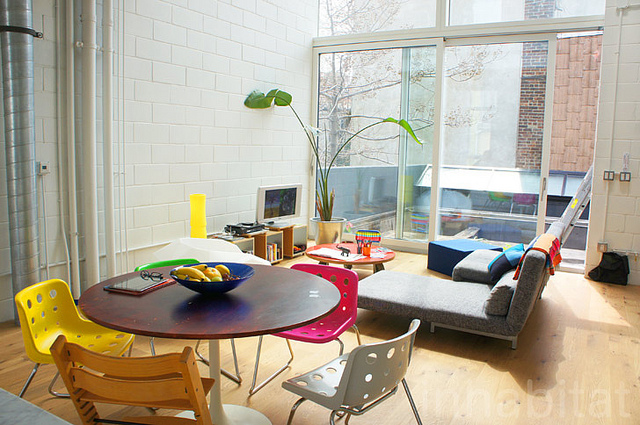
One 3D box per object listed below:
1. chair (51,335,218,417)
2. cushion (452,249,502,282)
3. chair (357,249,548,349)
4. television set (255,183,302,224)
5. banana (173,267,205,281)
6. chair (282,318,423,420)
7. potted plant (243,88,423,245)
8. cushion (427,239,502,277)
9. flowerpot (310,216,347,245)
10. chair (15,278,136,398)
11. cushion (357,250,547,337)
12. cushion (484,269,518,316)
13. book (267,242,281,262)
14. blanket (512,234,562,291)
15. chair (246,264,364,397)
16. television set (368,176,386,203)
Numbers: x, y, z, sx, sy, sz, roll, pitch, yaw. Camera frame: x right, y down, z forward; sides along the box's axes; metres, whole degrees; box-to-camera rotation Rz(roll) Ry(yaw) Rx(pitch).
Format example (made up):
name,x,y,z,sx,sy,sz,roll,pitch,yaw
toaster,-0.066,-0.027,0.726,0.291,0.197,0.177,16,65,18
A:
name,x,y,z,sx,sy,sz,roll,pitch,yaw
chair,-0.878,0.756,2.125,0.579,0.521,0.453,2,23,3
cushion,1.816,0.599,4.787,0.399,0.127,0.397,-4,16,39
chair,1.217,0.805,4.076,1.644,0.667,0.990,7,12,26
television set,-0.628,-0.087,6.055,0.259,0.634,0.953,13,14,31
banana,-0.799,0.374,2.533,0.158,0.041,0.035,19,16,26
chair,0.185,1.055,2.759,0.551,0.693,0.705,16,18,37
potted plant,0.092,-0.501,6.343,2.242,2.093,2.577,-12,-19,18
cushion,1.871,0.519,5.732,0.608,0.317,0.589,-7,12,-40
flowerpot,0.126,0.266,6.183,0.438,0.300,0.435,3,3,42
chair,-1.657,0.863,2.752,0.673,0.691,0.454,11,10,4
cushion,1.240,0.816,4.077,1.613,0.642,0.925,6,11,25
cushion,1.659,0.745,3.783,0.218,0.290,0.377,9,17,37
book,-0.671,0.573,5.980,0.180,0.242,0.321,-3,13,-4
blanket,2.066,0.380,3.859,0.404,0.177,0.597,14,34,36
chair,-0.037,0.896,3.085,0.819,0.839,0.732,5,6,32
television set,0.923,-0.374,6.900,0.276,0.433,0.079,4,16,22
